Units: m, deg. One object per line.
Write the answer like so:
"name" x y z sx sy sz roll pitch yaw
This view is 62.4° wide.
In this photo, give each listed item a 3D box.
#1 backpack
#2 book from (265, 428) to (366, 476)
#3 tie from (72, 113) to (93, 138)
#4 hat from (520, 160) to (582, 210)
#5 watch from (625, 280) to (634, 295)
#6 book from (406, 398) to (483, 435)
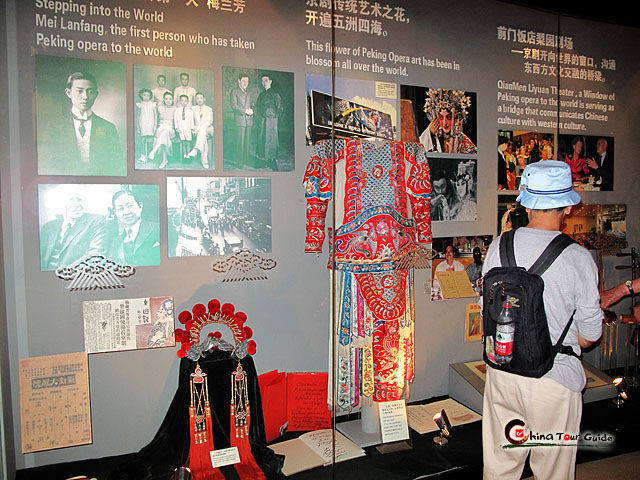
"backpack" 1.042 0.315 2.696 0.404 0.711 0.451 -4 5 -23
"book" -0.015 1.241 3.161 0.521 0.119 0.270 -4 6 -23
"tie" -1.247 -0.600 2.761 0.116 0.182 0.057 -2 0 -13
"hat" 1.170 -0.295 2.697 0.319 0.191 0.337 -26 22 -38
"watch" 1.688 0.256 2.864 0.042 0.071 0.068 -1 -4 7
"book" 0.788 1.118 3.404 0.513 0.152 0.132 -4 6 -19
